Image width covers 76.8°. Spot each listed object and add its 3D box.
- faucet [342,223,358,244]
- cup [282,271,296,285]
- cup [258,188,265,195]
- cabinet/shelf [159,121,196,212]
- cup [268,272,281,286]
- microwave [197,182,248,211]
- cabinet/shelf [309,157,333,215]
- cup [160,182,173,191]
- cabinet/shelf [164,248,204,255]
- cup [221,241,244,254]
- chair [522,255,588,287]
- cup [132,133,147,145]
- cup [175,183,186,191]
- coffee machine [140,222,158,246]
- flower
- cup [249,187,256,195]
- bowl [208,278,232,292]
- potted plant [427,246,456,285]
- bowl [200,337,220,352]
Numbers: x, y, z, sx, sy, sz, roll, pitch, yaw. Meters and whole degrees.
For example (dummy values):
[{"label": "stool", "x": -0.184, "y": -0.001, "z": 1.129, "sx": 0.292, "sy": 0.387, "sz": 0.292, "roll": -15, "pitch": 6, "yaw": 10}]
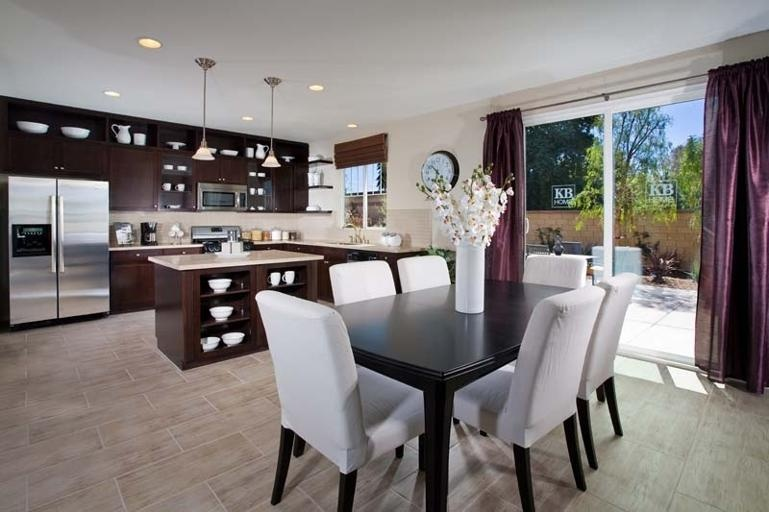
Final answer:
[{"label": "faucet", "x": -0.566, "y": -0.403, "z": 8.181, "sx": 0.116, "sy": 0.312, "sz": 0.430, "roll": -4, "pitch": 5, "yaw": -29}, {"label": "cup", "x": -1.124, "y": 0.257, "z": 5.752, "sx": 0.168, "sy": 0.165, "sz": 0.109, "roll": -1, "pitch": -1, "yaw": 41}, {"label": "cup", "x": -2.196, "y": -1.152, "z": 8.604, "sx": 0.073, "sy": 0.081, "sz": 0.111, "roll": -1, "pitch": -9, "yaw": 15}, {"label": "cabinet/shelf", "x": -3.314, "y": -1.391, "z": 7.722, "sx": 0.559, "sy": 1.319, "sz": 0.367, "roll": -3, "pitch": 6, "yaw": -21}, {"label": "cup", "x": -1.272, "y": 0.264, "z": 5.586, "sx": 0.164, "sy": 0.163, "sz": 0.107, "roll": 0, "pitch": 3, "yaw": 12}, {"label": "microwave", "x": -2.736, "y": -0.976, "z": 8.075, "sx": 0.432, "sy": 0.445, "sz": 0.717, "roll": 3, "pitch": 3, "yaw": 41}, {"label": "cabinet/shelf", "x": -1.216, "y": -1.258, "z": 8.655, "sx": 0.342, "sy": 0.915, "sz": 0.762, "roll": -4, "pitch": 6, "yaw": -36}, {"label": "cup", "x": -3.441, "y": -1.093, "z": 7.645, "sx": 0.139, "sy": 0.118, "sz": 0.137, "roll": -1, "pitch": 5, "yaw": 0}, {"label": "cabinet/shelf", "x": -3.136, "y": -0.096, "z": 7.545, "sx": 0.177, "sy": 0.090, "sz": 0.564, "roll": 3, "pitch": 5, "yaw": 39}, {"label": "cup", "x": -1.719, "y": -0.090, "z": 5.476, "sx": 0.092, "sy": 0.147, "sz": 0.269, "roll": 4, "pitch": 6, "yaw": 43}, {"label": "chair", "x": 1.693, "y": 0.121, "z": 4.769, "sx": 0.555, "sy": 0.403, "sz": 0.325, "roll": 2, "pitch": -1, "yaw": 42}, {"label": "cup", "x": -3.702, "y": -1.757, "z": 7.303, "sx": 0.187, "sy": 0.210, "sz": 0.195, "roll": 0, "pitch": -2, "yaw": 0}, {"label": "cup", "x": -3.266, "y": -1.107, "z": 7.717, "sx": 0.085, "sy": 0.100, "sz": 0.132, "roll": -2, "pitch": 3, "yaw": -38}, {"label": "coffee machine", "x": -3.689, "y": -0.351, "z": 7.492, "sx": 0.271, "sy": 0.347, "sz": 0.202, "roll": -1, "pitch": 5, "yaw": -4}, {"label": "flower", "x": 0.672, "y": -0.401, "z": 3.855, "sx": 0.632, "sy": 0.656, "sz": 0.259, "roll": 0, "pitch": 5, "yaw": 5}, {"label": "cup", "x": -2.327, "y": -1.136, "z": 8.525, "sx": 0.135, "sy": 0.179, "sz": 0.099, "roll": -2, "pitch": 9, "yaw": -34}, {"label": "bowl", "x": -1.788, "y": 0.309, "z": 5.254, "sx": 0.250, "sy": 0.143, "sz": 0.190, "roll": -3, "pitch": 5, "yaw": -29}, {"label": "potted plant", "x": 0.796, "y": 0.110, "z": 6.340, "sx": 0.412, "sy": 0.422, "sz": 0.421, "roll": 0, "pitch": -2, "yaw": -13}, {"label": "bowl", "x": -1.917, "y": 0.958, "z": 5.280, "sx": 0.153, "sy": 0.068, "sz": 0.153, "roll": -2, "pitch": 7, "yaw": 0}]
